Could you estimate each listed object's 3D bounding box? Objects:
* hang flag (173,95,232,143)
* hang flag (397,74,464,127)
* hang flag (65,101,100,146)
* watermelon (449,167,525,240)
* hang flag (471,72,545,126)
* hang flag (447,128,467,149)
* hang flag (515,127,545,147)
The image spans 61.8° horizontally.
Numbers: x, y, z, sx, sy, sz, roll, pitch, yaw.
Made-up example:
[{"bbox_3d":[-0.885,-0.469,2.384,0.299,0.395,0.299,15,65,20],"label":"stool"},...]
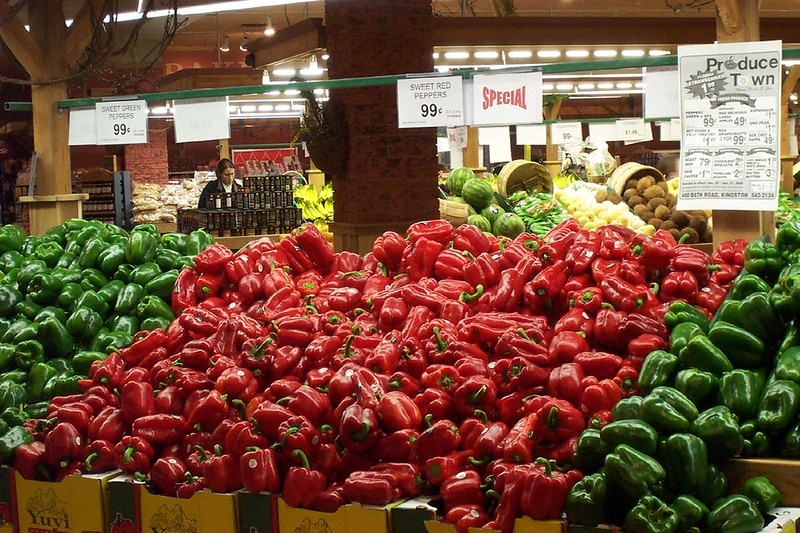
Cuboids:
[{"bbox_3d":[-1.534,-1.156,5.129,0.397,0.281,0.517,-2,0,-19],"label":"hang flag"},{"bbox_3d":[0.222,-1.162,4.666,0.369,0.281,0.043,1,4,18],"label":"hang flag"},{"bbox_3d":[-2.804,-1.252,5.883,0.211,0.396,0.562,-2,0,-27],"label":"hang flag"},{"bbox_3d":[0.889,-0.667,7.248,0.341,1.030,0.549,-35,-29,-12],"label":"watermelon"},{"bbox_3d":[0.703,-1.113,4.416,0.362,0.270,0.054,2,8,24],"label":"hang flag"},{"bbox_3d":[0.847,-1.922,10.009,0.237,0.300,0.516,-2,0,-10],"label":"hang flag"},{"bbox_3d":[2.179,-2.121,10.970,0.547,0.309,0.358,2,11,23],"label":"hang flag"}]
